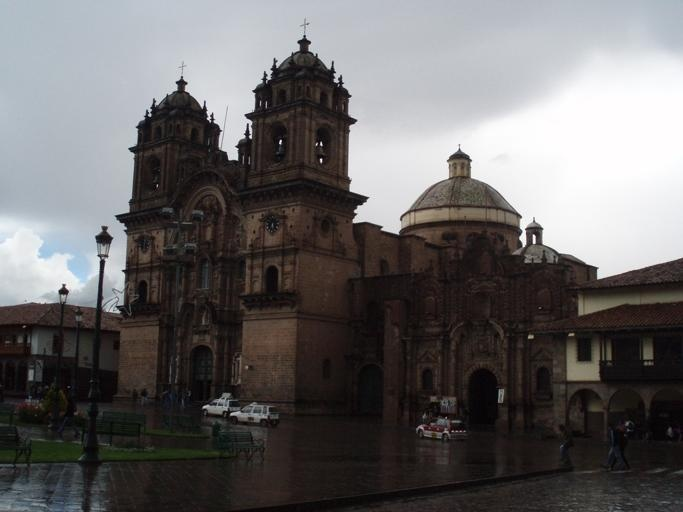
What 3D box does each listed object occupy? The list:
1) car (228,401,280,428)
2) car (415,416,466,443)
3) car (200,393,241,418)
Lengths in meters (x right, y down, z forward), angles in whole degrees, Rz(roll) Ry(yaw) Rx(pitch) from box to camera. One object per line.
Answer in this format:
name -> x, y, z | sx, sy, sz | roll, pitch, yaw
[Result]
car -> -5.118, 9.499, 48.645 | 2.462, 1.127, 1.448 | -1, -10, 35
car -> 5.256, 9.361, 44.070 | 1.502, 1.246, 2.950 | 7, -14, -22
car -> -7.774, 9.872, 53.892 | 2.594, 1.343, 1.587 | -6, -12, 43
